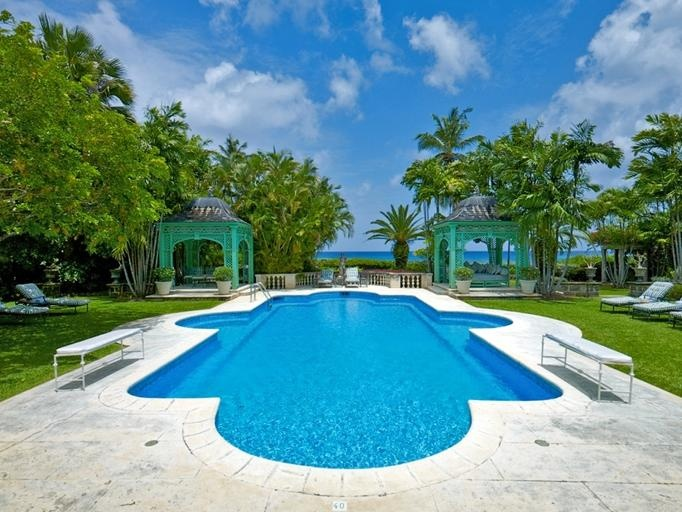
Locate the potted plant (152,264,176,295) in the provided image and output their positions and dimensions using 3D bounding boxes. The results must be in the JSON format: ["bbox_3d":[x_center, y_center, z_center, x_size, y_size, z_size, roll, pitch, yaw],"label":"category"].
[{"bbox_3d":[-9.449,1.260,21.601,1.240,1.564,1.376,1,-2,17],"label":"potted plant"}]

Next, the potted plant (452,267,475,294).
[{"bbox_3d":[6.426,1.309,22.438,1.241,1.536,1.224,1,-3,-2],"label":"potted plant"}]

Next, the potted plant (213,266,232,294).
[{"bbox_3d":[-6.032,1.295,21.996,1.307,1.618,1.255,0,-2,1],"label":"potted plant"}]

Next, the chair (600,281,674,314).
[{"bbox_3d":[12.225,1.645,17.070,2.554,1.317,1.572,-4,-4,25],"label":"chair"}]

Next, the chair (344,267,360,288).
[{"bbox_3d":[0.707,1.405,27.846,0.818,1.037,1.207,0,-5,2],"label":"chair"}]

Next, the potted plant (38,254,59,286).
[{"bbox_3d":[-15.310,0.728,21.816,0.852,1.532,1.221,-1,-3,-35],"label":"potted plant"}]

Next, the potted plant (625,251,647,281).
[{"bbox_3d":[18.917,0.610,26.568,0.981,1.646,1.180,-3,-2,11],"label":"potted plant"}]
